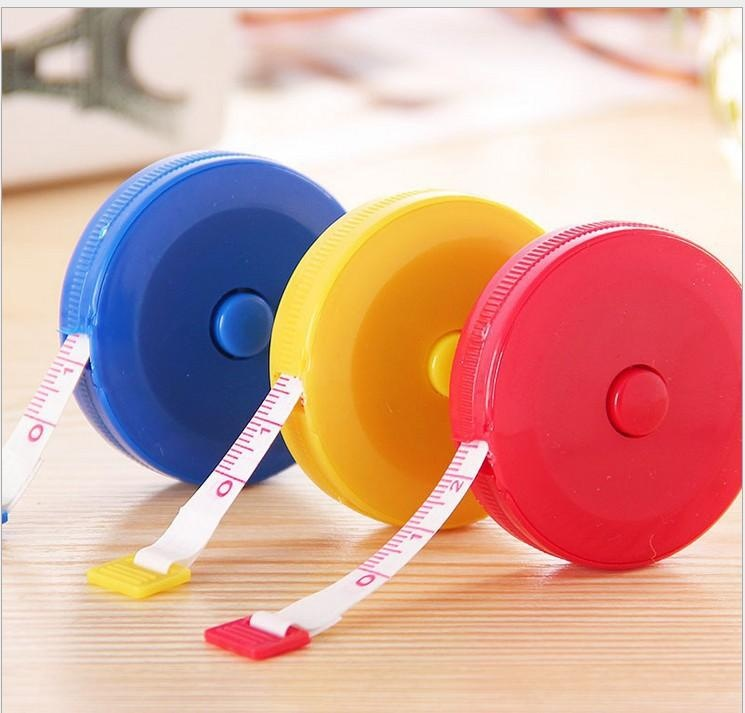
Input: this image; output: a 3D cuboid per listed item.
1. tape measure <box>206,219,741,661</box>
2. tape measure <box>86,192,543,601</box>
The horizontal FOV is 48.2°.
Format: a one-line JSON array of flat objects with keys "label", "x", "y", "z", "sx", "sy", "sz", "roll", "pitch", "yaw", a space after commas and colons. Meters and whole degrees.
[{"label": "tape measure", "x": 0.134, "y": 0.103, "z": 1.144, "sx": 0.649, "sy": 0.155, "sz": 0.406, "roll": -36, "pitch": 108, "yaw": -16}, {"label": "tape measure", "x": -0.171, "y": 0.024, "z": 1.168, "sx": 0.400, "sy": 0.699, "sz": 0.155, "roll": -7, "pitch": 39, "yaw": -14}]
